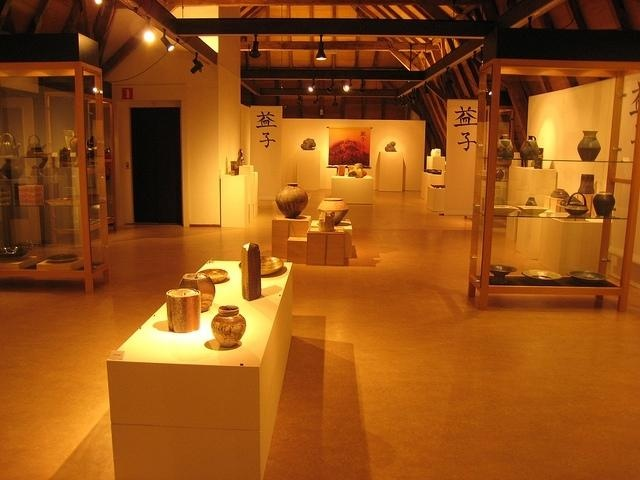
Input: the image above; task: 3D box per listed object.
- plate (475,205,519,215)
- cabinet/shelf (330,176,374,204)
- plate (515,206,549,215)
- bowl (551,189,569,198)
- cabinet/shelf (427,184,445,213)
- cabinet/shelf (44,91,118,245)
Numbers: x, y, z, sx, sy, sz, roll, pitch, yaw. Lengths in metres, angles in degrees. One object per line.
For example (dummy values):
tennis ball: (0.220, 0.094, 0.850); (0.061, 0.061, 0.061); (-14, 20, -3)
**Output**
plate: (1.916, -0.330, 5.450); (0.482, 0.135, 0.299); (4, 10, 19)
cabinet/shelf: (0.913, -1.455, 14.004); (0.847, 0.569, 0.887); (0, 5, 1)
plate: (2.332, -0.323, 5.507); (0.352, 0.112, 0.070); (-4, 10, -22)
bowl: (2.661, -0.516, 5.529); (0.134, 0.131, 0.044); (5, -3, -8)
cabinet/shelf: (2.962, -1.055, 12.772); (0.573, 0.898, 0.604); (0, 7, 6)
cabinet/shelf: (-2.874, -0.924, 6.082); (0.461, 1.594, 0.677); (3, 18, -6)
